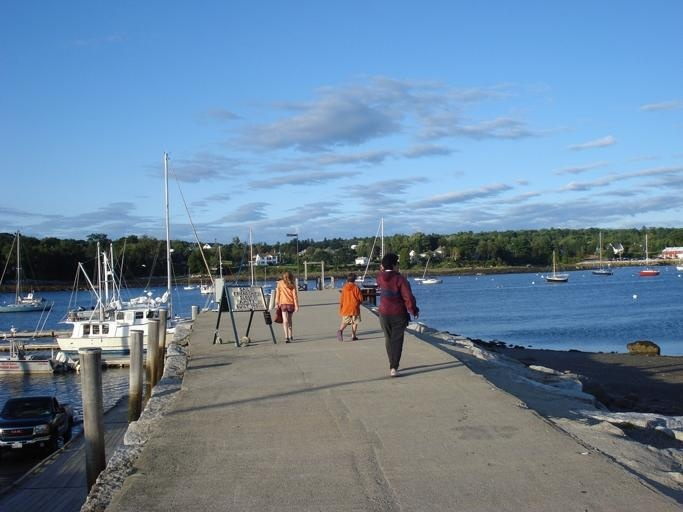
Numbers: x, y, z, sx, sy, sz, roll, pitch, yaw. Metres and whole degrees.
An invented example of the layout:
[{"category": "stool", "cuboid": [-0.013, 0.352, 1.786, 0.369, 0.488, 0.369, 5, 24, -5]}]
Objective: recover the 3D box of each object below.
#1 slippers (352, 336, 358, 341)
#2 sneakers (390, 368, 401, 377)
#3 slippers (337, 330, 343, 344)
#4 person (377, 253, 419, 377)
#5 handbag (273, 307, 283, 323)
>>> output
[{"category": "slippers", "cuboid": [0.325, 2.022, 14.842, 0.082, 0.092, 0.239, -1, -7, 6]}, {"category": "sneakers", "cuboid": [0.949, 2.068, 10.742, 0.086, 0.099, 0.231, 2, 10, 11]}, {"category": "slippers", "cuboid": [-0.036, 1.938, 14.560, 0.117, 0.304, 0.142, -3, -2, -3]}, {"category": "person", "cuboid": [0.977, 1.061, 11.160, 0.818, 2.164, 0.889, 2, -3, -39]}, {"category": "handbag", "cuboid": [-1.541, 1.428, 14.797, 0.187, 0.334, 0.547, 2, -2, -4]}]
